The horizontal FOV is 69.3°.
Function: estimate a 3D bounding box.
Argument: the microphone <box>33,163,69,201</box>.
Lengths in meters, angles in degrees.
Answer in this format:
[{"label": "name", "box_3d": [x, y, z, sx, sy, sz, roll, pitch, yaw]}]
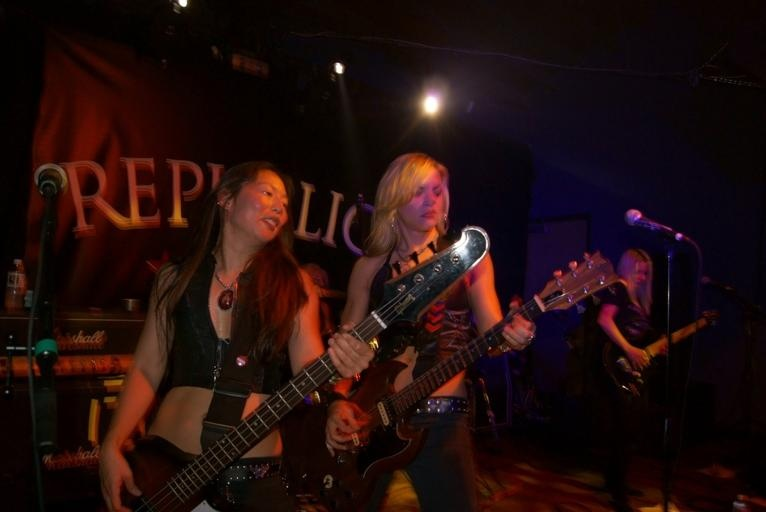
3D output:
[{"label": "microphone", "box_3d": [-2.929, -0.678, 4.959, 0.290, 0.314, 0.079, -5, 10, -9]}]

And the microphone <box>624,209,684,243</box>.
[{"label": "microphone", "box_3d": [4.233, -0.495, 8.611, 0.843, 0.263, 0.268, 32, -29, 20]}]

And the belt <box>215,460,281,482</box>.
[{"label": "belt", "box_3d": [-1.169, 1.829, 4.700, 0.471, 0.170, 0.066, -3, -5, -14]}]

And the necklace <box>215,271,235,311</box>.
[{"label": "necklace", "box_3d": [-1.438, 0.324, 5.050, 0.084, 0.228, 0.384, 17, 15, -35]}]

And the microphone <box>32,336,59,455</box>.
[{"label": "microphone", "box_3d": [-2.792, 1.179, 4.596, 0.209, 1.007, 0.207, -22, -18, 40]}]

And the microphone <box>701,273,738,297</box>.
[{"label": "microphone", "box_3d": [5.261, 0.446, 8.857, 0.206, 0.249, 0.808, 15, 4, -11]}]
